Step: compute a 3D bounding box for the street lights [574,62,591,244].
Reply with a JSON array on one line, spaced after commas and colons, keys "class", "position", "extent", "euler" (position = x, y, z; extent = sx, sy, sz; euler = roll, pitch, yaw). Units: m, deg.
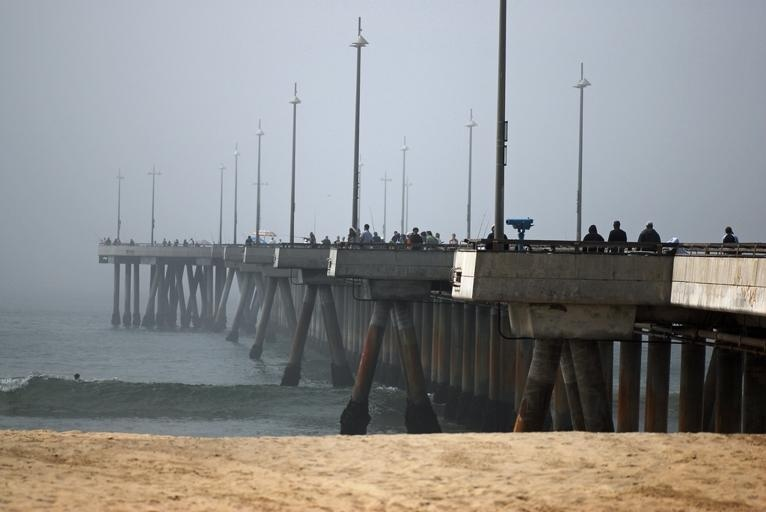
[{"class": "street lights", "position": [7.535, -4.446, 53.589], "extent": [0.757, 5.104, 0.814], "euler": [1, -1, 10]}]

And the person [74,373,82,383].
[{"class": "person", "position": [-13.133, 5.331, 61.099], "extent": [0.307, 0.420, 0.986], "euler": [0, -1, -5]}]
